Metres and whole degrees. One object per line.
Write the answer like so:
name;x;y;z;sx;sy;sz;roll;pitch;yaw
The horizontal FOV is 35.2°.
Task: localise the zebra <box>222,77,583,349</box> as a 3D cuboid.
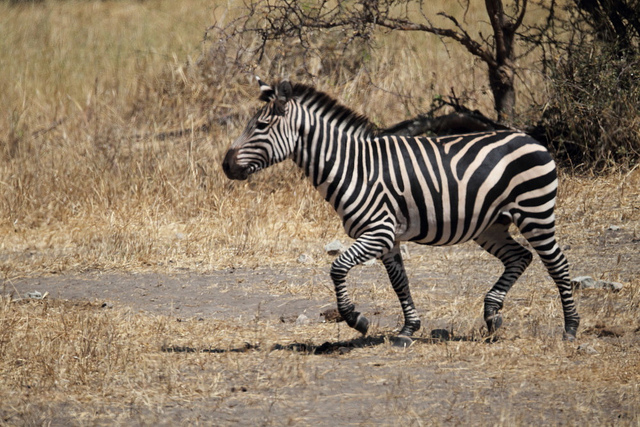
zebra;1.227;-0.092;12.805;4.174;3.315;2.647;3;27;9
